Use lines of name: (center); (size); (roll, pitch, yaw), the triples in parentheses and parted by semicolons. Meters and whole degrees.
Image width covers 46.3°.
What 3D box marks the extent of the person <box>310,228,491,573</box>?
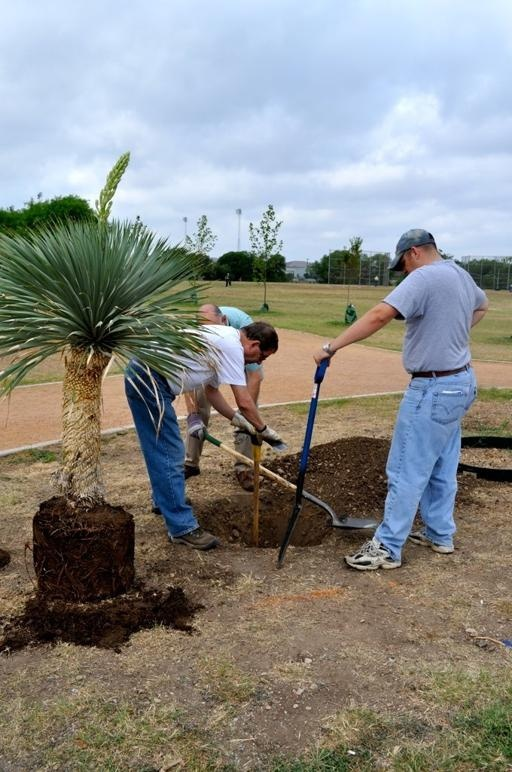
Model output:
person: (0.935, 0.088, 3.562); (0.974, 2.007, 0.432); (-5, 12, -31)

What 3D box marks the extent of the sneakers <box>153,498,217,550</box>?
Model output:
sneakers: (-0.457, 0.957, 3.920); (0.350, 0.217, 0.125); (0, 8, 14)

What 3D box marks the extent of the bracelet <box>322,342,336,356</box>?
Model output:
bracelet: (0.426, -0.215, 3.501); (0.062, 0.080, 0.047); (-3, 36, 6)

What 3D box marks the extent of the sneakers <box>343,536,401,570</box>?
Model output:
sneakers: (0.727, 1.016, 3.626); (0.386, 0.203, 0.140); (0, -2, -4)

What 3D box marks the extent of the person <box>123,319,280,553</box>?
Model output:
person: (-0.243, 0.335, 3.750); (1.145, 1.468, 0.978); (-5, 11, -29)

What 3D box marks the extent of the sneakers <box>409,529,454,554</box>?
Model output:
sneakers: (1.139, 1.021, 3.893); (0.099, 0.120, 0.284); (4, -9, -18)

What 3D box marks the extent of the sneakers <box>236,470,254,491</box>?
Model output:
sneakers: (-0.103, 0.823, 5.213); (0.114, 0.164, 0.091); (-9, -26, 5)
